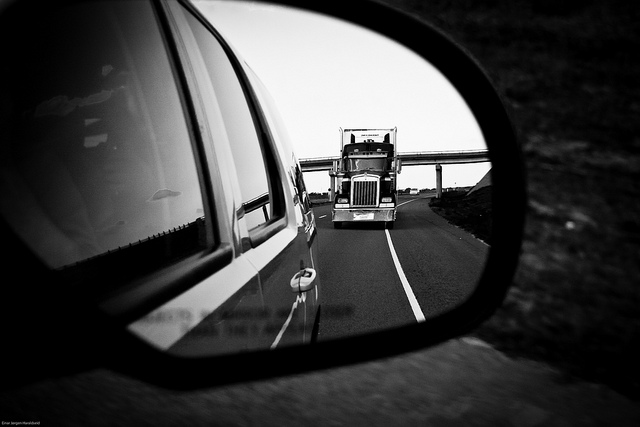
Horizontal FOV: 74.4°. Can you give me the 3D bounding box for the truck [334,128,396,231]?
[{"bbox_3d":[1.895,-1.399,17.061,1.840,2.962,5.237,0,-3,6],"label":"truck"}]
